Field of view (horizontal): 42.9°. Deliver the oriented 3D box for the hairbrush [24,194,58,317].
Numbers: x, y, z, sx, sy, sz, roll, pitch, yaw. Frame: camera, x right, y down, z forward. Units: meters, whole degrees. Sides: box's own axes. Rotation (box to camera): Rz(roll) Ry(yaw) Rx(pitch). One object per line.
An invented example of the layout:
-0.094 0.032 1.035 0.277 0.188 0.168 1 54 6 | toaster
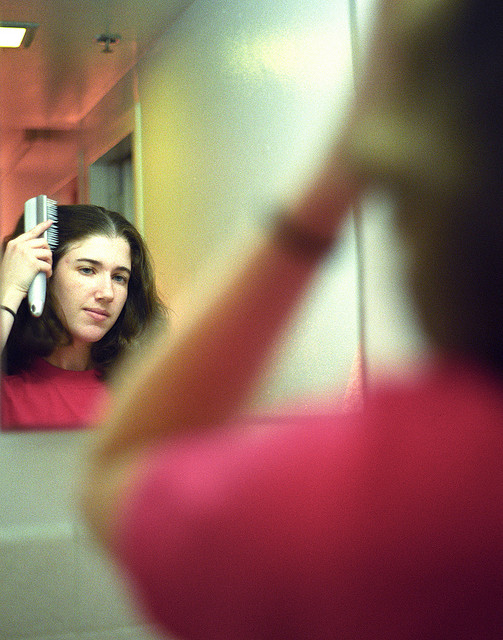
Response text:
-0.299 -0.092 0.915 0.045 0.161 0.062 -3 18 -20 | hairbrush
